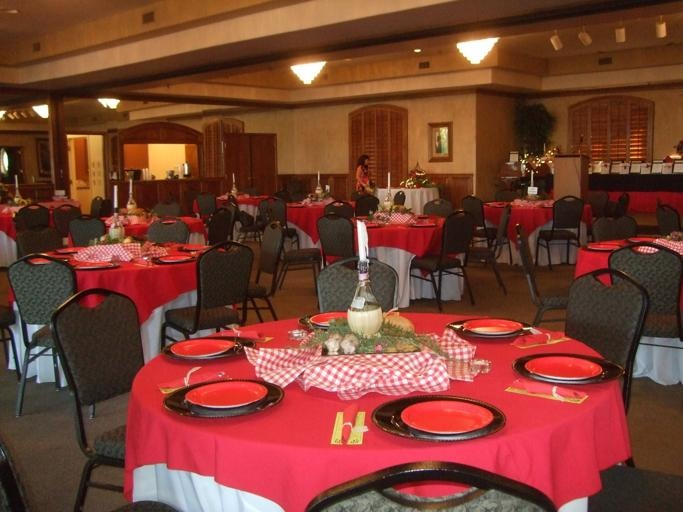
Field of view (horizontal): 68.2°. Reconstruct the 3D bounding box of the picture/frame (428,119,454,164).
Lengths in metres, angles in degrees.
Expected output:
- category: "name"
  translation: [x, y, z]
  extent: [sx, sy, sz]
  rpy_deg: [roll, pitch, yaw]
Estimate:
- category: "picture/frame"
  translation: [2.468, -2.836, 12.592]
  extent: [0.704, 0.956, 0.173]
  rpy_deg: [11, 17, 42]
